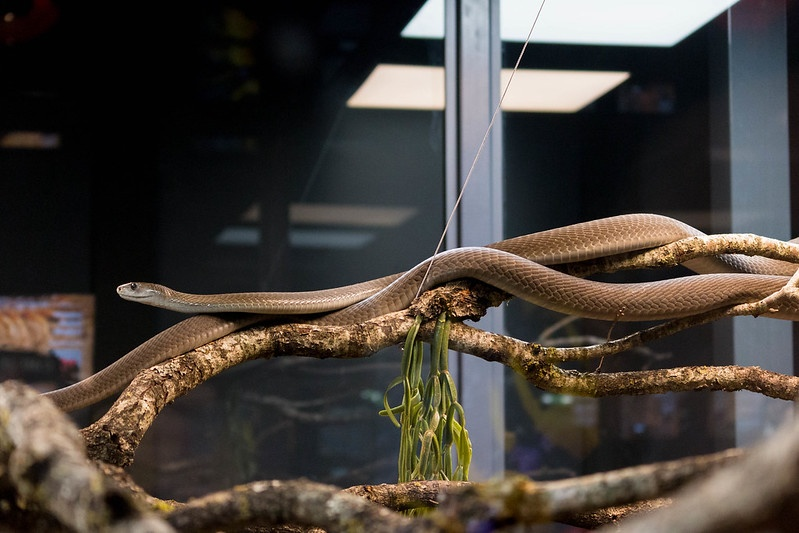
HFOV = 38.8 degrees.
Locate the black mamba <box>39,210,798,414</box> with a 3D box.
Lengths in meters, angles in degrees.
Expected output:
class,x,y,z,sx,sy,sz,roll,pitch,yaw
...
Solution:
class,x,y,z,sx,sy,sz,roll,pitch,yaw
black mamba,0.147,0.094,4.787,3.023,0.434,1.188,-3,-5,4
